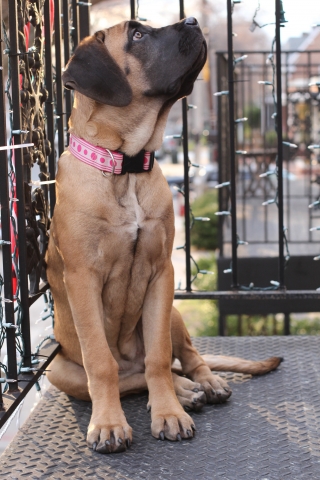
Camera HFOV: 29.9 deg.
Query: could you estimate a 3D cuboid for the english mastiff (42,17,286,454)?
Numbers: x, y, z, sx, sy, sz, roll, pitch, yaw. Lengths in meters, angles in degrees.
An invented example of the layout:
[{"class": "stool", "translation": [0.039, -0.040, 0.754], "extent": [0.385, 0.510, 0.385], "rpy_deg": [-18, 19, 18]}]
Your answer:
[{"class": "english mastiff", "translation": [-0.030, -0.072, 2.376], "extent": [0.859, 1.526, 0.815], "rpy_deg": [-8, 18, -20]}]
